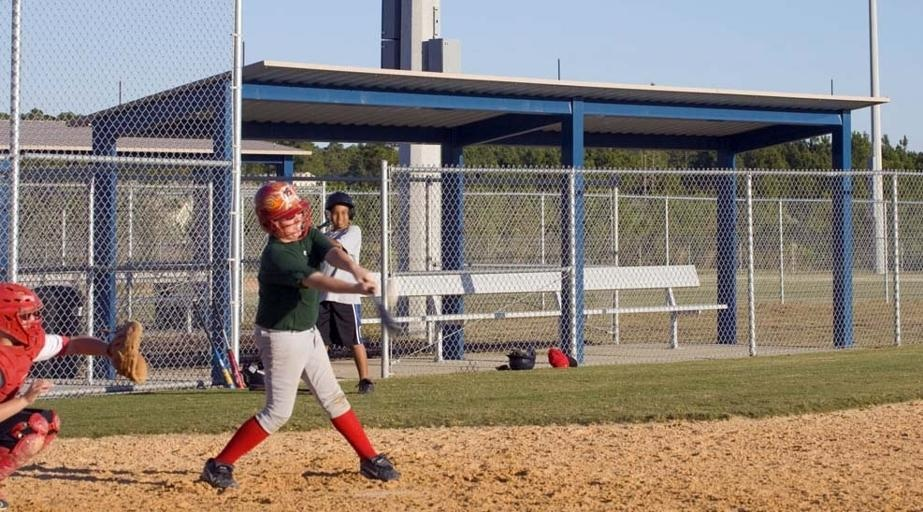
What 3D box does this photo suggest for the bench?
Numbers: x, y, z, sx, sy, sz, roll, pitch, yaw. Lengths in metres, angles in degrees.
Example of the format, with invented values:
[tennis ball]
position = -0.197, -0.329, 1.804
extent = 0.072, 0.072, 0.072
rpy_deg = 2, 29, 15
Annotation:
[bench]
position = 1.785, 1.038, 31.452
extent = 6.522, 1.523, 2.459
rpy_deg = -3, 1, -33

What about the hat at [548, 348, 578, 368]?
[hat]
position = 1.906, 1.862, 30.317
extent = 0.579, 0.343, 0.496
rpy_deg = -3, 1, -41

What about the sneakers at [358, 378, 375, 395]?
[sneakers]
position = -1.623, 2.207, 28.273
extent = 0.179, 0.211, 0.311
rpy_deg = 0, 1, -6
